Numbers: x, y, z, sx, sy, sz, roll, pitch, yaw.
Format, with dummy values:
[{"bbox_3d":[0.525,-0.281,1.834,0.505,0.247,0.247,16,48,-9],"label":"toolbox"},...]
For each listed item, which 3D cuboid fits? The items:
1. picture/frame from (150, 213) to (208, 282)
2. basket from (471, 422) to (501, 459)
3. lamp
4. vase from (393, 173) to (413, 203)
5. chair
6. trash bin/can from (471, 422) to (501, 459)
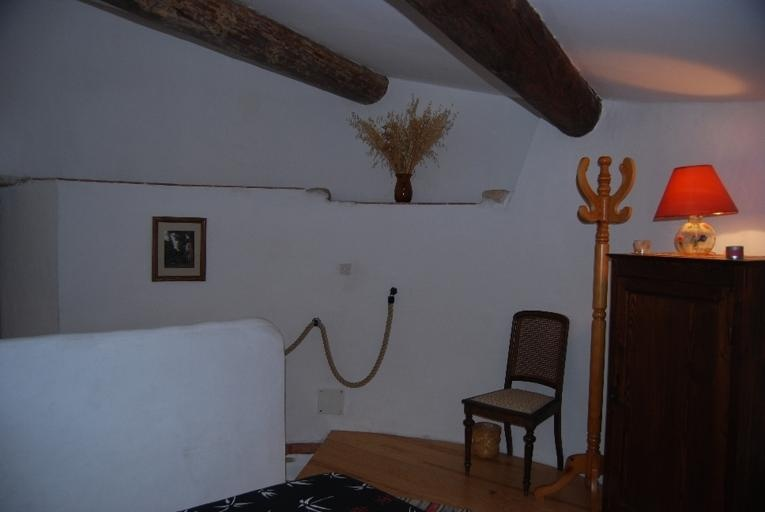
[{"bbox_3d":[-1.913,-0.077,5.026,0.609,0.794,0.067,0,-1,-12],"label":"picture/frame"},{"bbox_3d":[0.884,1.566,4.712,0.275,0.243,0.252,5,-5,-36],"label":"basket"},{"bbox_3d":[2.144,-0.307,3.734,0.519,0.606,0.528,0,6,11],"label":"lamp"},{"bbox_3d":[0.192,-0.640,5.125,0.229,0.342,0.232,-1,3,-9],"label":"vase"},{"bbox_3d":[1.119,1.128,4.472,0.705,1.276,0.863,8,12,38],"label":"chair"},{"bbox_3d":[0.910,1.562,4.724,0.276,0.242,0.252,5,-6,-43],"label":"trash bin/can"}]
